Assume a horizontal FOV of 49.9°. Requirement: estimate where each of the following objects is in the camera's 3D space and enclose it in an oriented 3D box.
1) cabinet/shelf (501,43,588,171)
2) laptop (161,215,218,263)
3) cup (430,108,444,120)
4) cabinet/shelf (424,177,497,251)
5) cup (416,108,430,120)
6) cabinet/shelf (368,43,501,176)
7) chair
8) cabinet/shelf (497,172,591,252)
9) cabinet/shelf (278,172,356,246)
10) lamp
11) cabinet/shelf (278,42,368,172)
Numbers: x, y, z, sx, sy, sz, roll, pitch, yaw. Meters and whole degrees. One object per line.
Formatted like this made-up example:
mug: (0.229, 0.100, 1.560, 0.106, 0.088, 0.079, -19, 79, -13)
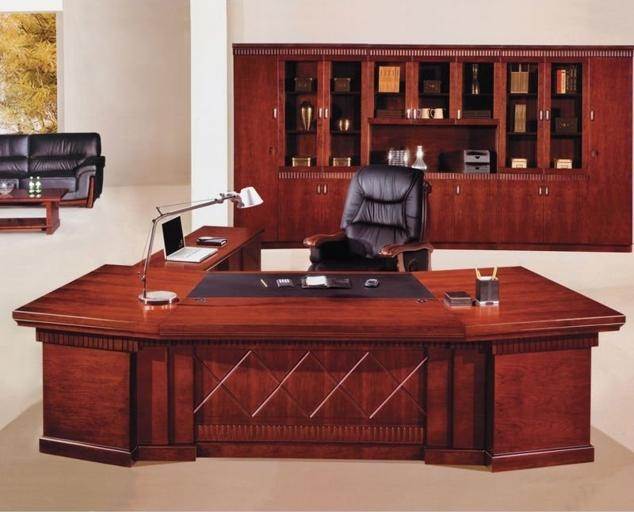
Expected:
cabinet/shelf: (2.335, -1.399, 6.953, 0.677, 1.142, 0.345, 1, 0, 21)
laptop: (-0.814, -0.196, 4.217, 0.294, 0.255, 0.419, -7, 28, -11)
cup: (1.230, -1.466, 7.003, 0.146, 0.140, 0.098, -1, 10, -2)
cabinet/shelf: (1.443, -0.464, 6.817, 0.714, 0.693, 0.255, 0, 6, 3)
cup: (1.094, -1.469, 6.999, 0.168, 0.095, 0.095, -1, 15, -5)
cabinet/shelf: (1.201, -1.542, 6.942, 1.563, 1.502, 0.457, 0, 4, 2)
chair: (0.342, -0.107, 4.776, 0.741, 1.022, 0.908, 6, 11, 28)
cabinet/shelf: (2.286, -0.610, 7.214, 1.070, 0.963, 0.400, 1, -3, -14)
cabinet/shelf: (-0.015, -0.492, 6.566, 0.724, 0.696, 0.262, 0, 3, -3)
lamp: (-0.630, -0.062, 3.689, 0.651, 0.643, 0.183, -4, 23, -21)
cabinet/shelf: (0.064, -1.434, 7.050, 0.804, 1.199, 0.342, 2, 14, 10)
